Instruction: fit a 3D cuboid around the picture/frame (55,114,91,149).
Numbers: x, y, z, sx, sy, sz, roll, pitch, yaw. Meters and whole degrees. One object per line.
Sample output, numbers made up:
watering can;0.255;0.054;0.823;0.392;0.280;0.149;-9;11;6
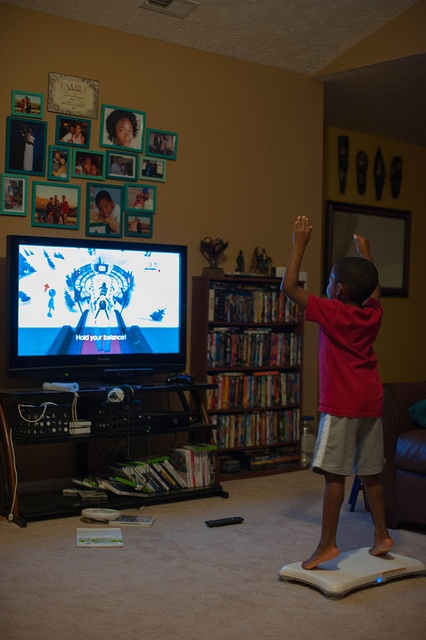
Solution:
picture/frame;-0.912;-1.209;3.364;0.284;0.228;0.022;0;2;-36

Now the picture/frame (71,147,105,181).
picture/frame;-0.831;-1.019;3.429;0.262;0.210;0.021;-2;2;-40

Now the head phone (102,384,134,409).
head phone;-0.540;0.415;2.949;0.098;0.178;0.215;-8;12;-37

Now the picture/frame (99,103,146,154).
picture/frame;-0.632;-1.303;3.558;0.423;0.333;0.015;3;-2;-35

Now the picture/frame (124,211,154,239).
picture/frame;-0.529;-0.665;3.648;0.218;0.171;0.022;0;1;-32

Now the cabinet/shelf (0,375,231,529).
cabinet/shelf;-0.641;0.732;3.160;1.368;0.696;0.726;5;-10;-34

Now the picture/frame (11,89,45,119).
picture/frame;-1.137;-1.315;3.185;0.239;0.187;0.017;0;3;-39

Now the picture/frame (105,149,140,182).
picture/frame;-0.631;-1.054;3.572;0.256;0.206;0.018;-4;7;-40

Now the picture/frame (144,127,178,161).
picture/frame;-0.383;-1.252;3.725;0.303;0.236;0.023;0;0;-37

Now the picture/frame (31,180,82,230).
picture/frame;-1.007;-0.727;3.308;0.370;0.333;0.026;0;1;-34

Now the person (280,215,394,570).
person;0.447;0.233;1.851;0.278;1.212;0.540;-6;-10;36

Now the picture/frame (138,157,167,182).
picture/frame;-0.441;-1.061;3.696;0.217;0.163;0.010;1;0;-33

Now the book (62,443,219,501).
book;-0.301;0.855;3.112;0.491;0.180;0.389;4;-8;-31

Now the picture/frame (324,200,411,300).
picture/frame;1.300;-0.653;4.477;1.363;1.077;0.058;0;0;-35

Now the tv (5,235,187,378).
tv;-0.734;-0.076;3.130;0.985;0.657;0.126;1;2;-30
